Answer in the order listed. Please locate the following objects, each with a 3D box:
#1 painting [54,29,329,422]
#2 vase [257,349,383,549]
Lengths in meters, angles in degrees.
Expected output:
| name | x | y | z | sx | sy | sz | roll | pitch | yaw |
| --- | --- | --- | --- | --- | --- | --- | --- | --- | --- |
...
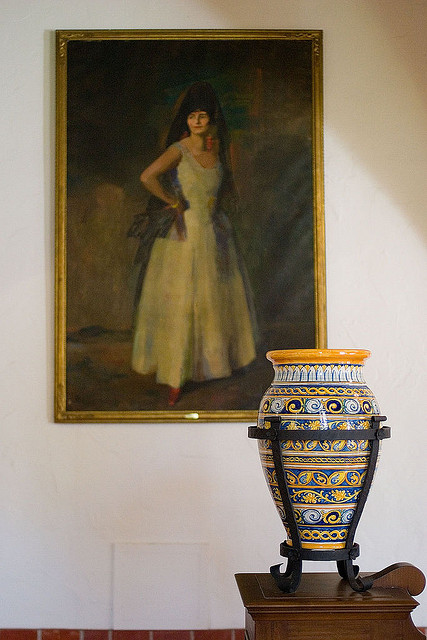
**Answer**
| name | x | y | z | sx | sy | sz | roll | pitch | yaw |
| --- | --- | --- | --- | --- | --- | --- | --- | --- | --- |
| painting | -0.065 | -0.368 | 3.440 | 1.125 | 1.468 | 0.068 | -2 | 4 | -21 |
| vase | 0.289 | 0.324 | 2.478 | 0.306 | 0.589 | 0.278 | -1 | -3 | 11 |
